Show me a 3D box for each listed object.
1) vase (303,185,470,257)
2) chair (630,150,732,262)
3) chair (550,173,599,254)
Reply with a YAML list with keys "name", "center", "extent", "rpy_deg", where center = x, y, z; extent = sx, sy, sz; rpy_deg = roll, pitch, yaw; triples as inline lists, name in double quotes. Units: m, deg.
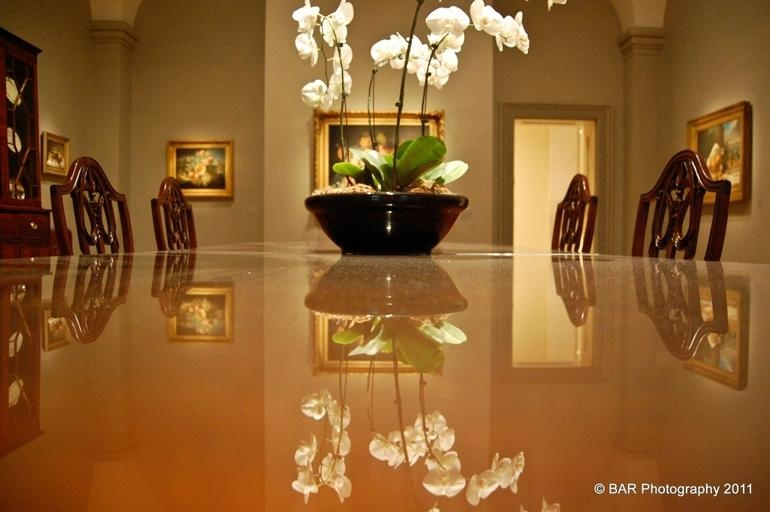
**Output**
- name: "vase"
  center: [0.002, -0.070, 1.053]
  extent: [0.335, 0.130, 0.142]
  rpy_deg: [-1, 6, -9]
- name: "chair"
  center: [0.819, -0.142, 1.427]
  extent: [0.203, 0.341, 0.640]
  rpy_deg: [3, 6, 27]
- name: "chair"
  center: [0.792, -0.180, 2.128]
  extent: [0.159, 0.341, 0.755]
  rpy_deg: [2, 6, 18]
